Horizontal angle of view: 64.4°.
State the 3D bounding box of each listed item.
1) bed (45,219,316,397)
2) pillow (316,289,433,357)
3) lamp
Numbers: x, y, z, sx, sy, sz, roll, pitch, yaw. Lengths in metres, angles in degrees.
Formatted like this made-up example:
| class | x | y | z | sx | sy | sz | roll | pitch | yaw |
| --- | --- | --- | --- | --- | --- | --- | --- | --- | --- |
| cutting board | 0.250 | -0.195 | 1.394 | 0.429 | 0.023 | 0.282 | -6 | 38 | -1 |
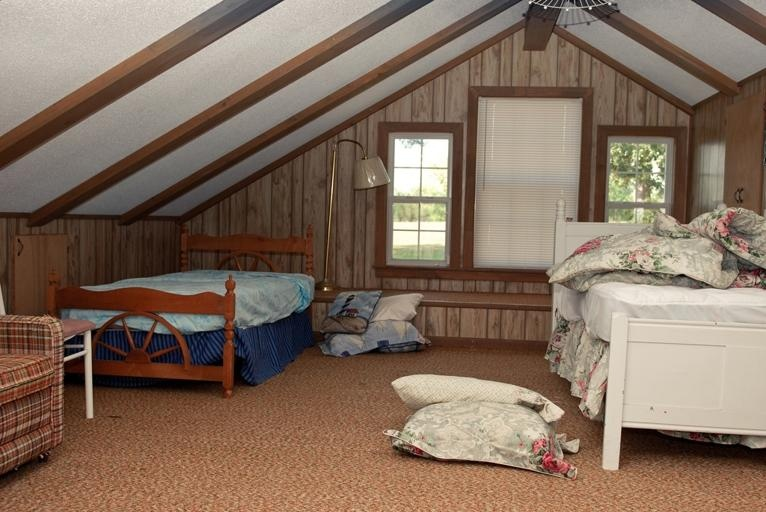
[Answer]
| class | x | y | z | sx | sy | sz | roll | pitch | yaw |
| --- | --- | --- | --- | --- | --- | --- | --- | --- | --- |
| bed | -1.525 | 0.416 | 5.159 | 1.511 | 0.999 | 1.788 | 0 | 2 | 8 |
| pillow | -0.081 | 0.622 | 5.684 | 1.013 | 0.483 | 0.628 | 0 | 11 | -7 |
| lamp | -0.335 | -0.449 | 6.442 | 0.710 | 1.589 | 0.715 | 1 | 13 | -5 |
